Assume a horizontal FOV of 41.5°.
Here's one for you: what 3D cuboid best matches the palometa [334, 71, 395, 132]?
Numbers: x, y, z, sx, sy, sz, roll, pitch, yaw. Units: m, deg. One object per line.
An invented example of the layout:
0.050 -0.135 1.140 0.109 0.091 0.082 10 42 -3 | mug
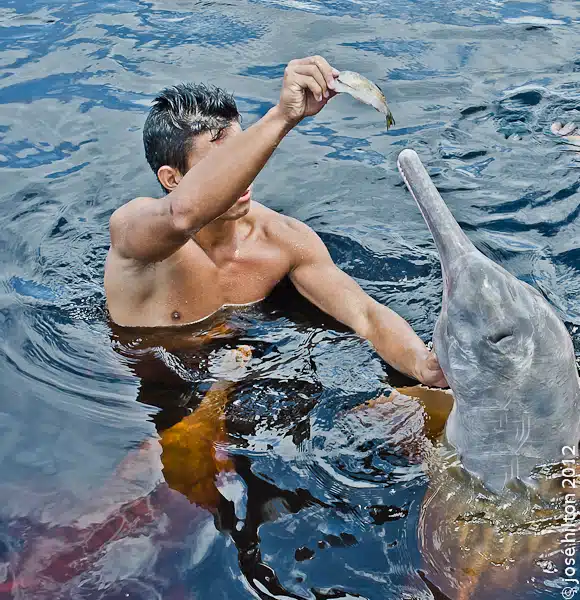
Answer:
0.304 -0.846 3.254 0.256 0.259 0.319 4 42 2 | palometa
